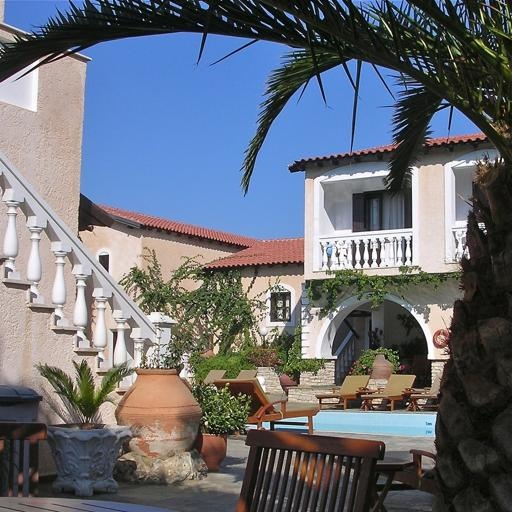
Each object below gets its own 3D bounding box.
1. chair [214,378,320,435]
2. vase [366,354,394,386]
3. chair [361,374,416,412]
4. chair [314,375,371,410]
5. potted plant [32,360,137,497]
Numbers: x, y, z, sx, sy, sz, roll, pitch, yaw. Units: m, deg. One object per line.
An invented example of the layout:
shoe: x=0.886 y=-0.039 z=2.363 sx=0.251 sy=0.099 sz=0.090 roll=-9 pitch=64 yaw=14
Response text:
chair: x=0.442 y=2.415 z=9.813 sx=1.187 sy=0.587 sz=0.593 roll=5 pitch=-12 yaw=-7
vase: x=3.775 y=3.336 z=18.487 sx=1.032 sy=0.780 sz=0.994 roll=-2 pitch=-3 yaw=9
chair: x=3.413 y=3.592 z=16.323 sx=1.307 sy=0.948 sz=2.345 roll=0 pitch=-7 yaw=3
chair: x=2.220 y=3.445 z=15.671 sx=1.366 sy=0.710 sz=0.806 roll=4 pitch=-13 yaw=-40
potted plant: x=-1.560 y=1.600 z=5.802 sx=0.968 sy=1.143 sz=0.843 roll=-4 pitch=-16 yaw=19
